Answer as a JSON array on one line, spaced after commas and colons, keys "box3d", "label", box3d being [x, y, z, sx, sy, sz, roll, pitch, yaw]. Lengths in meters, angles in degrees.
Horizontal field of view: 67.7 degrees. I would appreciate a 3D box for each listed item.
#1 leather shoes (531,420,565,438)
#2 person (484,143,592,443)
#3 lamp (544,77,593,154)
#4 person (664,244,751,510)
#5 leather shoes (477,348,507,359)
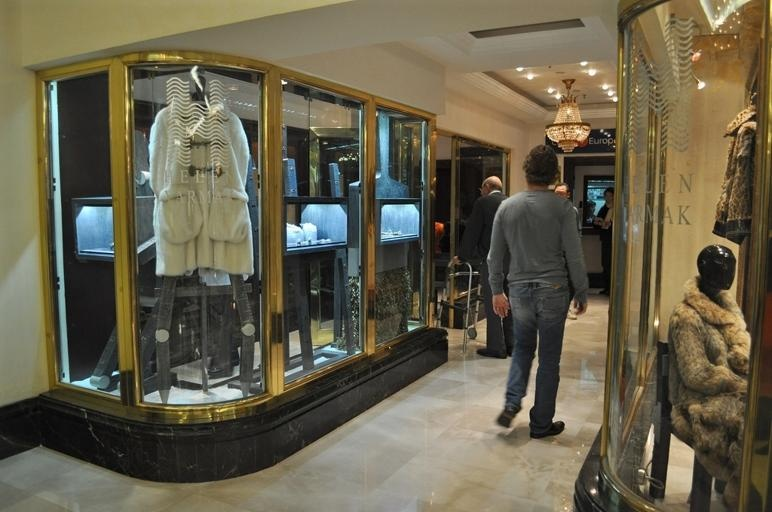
[{"box3d": [1.216, 1.296, 4.308, 0.281, 0.108, 0.103, -8, 11, -26], "label": "leather shoes"}, {"box3d": [1.102, 0.271, 4.213, 0.686, 2.126, 0.482, 1, 10, 9], "label": "person"}, {"box3d": [2.725, -2.100, 8.572, 0.570, 1.027, 0.590, 2, 0, 36], "label": "lamp"}, {"box3d": [1.478, 0.551, 2.653, 0.334, 1.208, 0.121, 6, 12, 34], "label": "person"}, {"box3d": [1.123, 1.029, 6.131, 0.301, 0.122, 0.111, 2, 3, 34], "label": "leather shoes"}]
